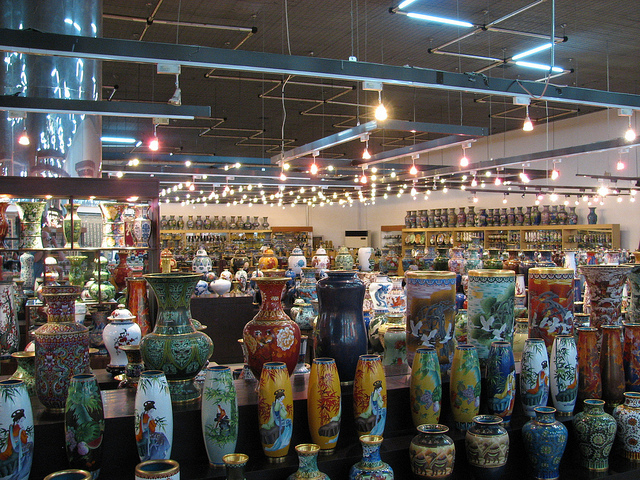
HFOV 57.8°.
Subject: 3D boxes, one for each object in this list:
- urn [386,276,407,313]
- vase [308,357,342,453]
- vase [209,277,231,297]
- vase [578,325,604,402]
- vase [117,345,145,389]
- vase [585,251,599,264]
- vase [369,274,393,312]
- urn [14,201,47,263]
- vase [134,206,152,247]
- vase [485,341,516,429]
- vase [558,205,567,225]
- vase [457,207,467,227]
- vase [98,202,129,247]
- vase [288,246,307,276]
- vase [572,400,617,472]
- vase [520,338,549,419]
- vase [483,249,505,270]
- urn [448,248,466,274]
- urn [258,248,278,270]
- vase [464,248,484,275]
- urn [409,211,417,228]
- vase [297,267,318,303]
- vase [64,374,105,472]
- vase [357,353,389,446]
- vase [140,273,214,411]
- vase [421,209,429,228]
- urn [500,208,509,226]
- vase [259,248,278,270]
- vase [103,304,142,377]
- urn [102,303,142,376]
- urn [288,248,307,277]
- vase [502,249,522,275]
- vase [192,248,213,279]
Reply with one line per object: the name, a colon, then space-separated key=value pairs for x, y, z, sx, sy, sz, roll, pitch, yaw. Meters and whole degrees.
urn: x=0.546 y=0.392 z=4.087 sx=0.177 sy=0.274 sz=0.188 roll=0 pitch=-3 yaw=4
vase: x=0.021 y=0.812 z=2.859 sx=0.159 sy=0.447 sz=0.137 roll=-2 pitch=-2 yaw=6
vase: x=-1.212 y=0.565 z=7.035 sx=0.216 sy=0.205 sz=0.212 roll=1 pitch=1 yaw=-32
vase: x=1.578 y=0.713 z=3.345 sx=0.108 sy=0.329 sz=0.303 roll=-4 pitch=-2 yaw=44
vase: x=-1.091 y=0.751 z=3.429 sx=0.196 sy=0.218 sz=0.189 roll=2 pitch=-8 yaw=-30
vase: x=2.981 y=0.189 z=6.329 sx=0.175 sy=0.187 sz=0.167 roll=2 pitch=2 yaw=21
vase: x=0.448 y=0.378 z=4.354 sx=0.213 sy=0.305 sz=0.189 roll=1 pitch=-9 yaw=-2
urn: x=-2.633 y=-0.093 z=5.262 sx=0.271 sy=0.481 sz=0.271 roll=-11 pitch=-15 yaw=13
vase: x=-1.868 y=-0.135 z=6.041 sx=0.235 sy=0.434 sz=0.239 roll=3 pitch=6 yaw=18
vase: x=0.975 y=0.778 z=3.112 sx=0.152 sy=0.300 sz=0.105 roll=-2 pitch=-2 yaw=-1
vase: x=5.701 y=-0.584 z=13.563 sx=0.193 sy=0.327 sz=0.302 roll=-3 pitch=-2 yaw=23
vase: x=4.066 y=-0.624 z=16.506 sx=0.263 sy=0.548 sz=0.708 roll=-2 pitch=-2 yaw=13
vase: x=-2.124 y=-0.141 z=5.981 sx=0.320 sy=0.434 sz=0.312 roll=-1 pitch=5 yaw=-3
vase: x=-0.320 y=0.254 z=7.021 sx=0.299 sy=0.362 sz=0.295 roll=0 pitch=-2 yaw=-25
vase: x=1.489 y=1.032 z=3.059 sx=0.267 sy=0.282 sz=0.119 roll=-2 pitch=-2 yaw=-7
vase: x=1.197 y=0.761 z=3.160 sx=0.169 sy=0.303 sz=0.179 roll=-1 pitch=-2 yaw=-28
vase: x=1.429 y=0.148 z=4.712 sx=0.188 sy=0.190 sz=0.188 roll=1 pitch=-7 yaw=2
urn: x=1.212 y=0.190 z=5.089 sx=0.186 sy=0.272 sz=0.178 roll=1 pitch=-7 yaw=-2
urn: x=-0.629 y=0.244 z=7.311 sx=0.253 sy=0.345 sz=0.247 roll=5 pitch=-6 yaw=-25
vase: x=1.276 y=0.178 z=4.774 sx=0.189 sy=0.257 sz=0.190 roll=1 pitch=-7 yaw=0
urn: x=2.952 y=-0.649 z=18.296 sx=0.231 sy=0.549 sz=0.604 roll=-2 pitch=-2 yaw=10
vase: x=-0.135 y=0.399 z=4.966 sx=0.223 sy=0.325 sz=0.202 roll=5 pitch=6 yaw=-11
vase: x=-1.101 y=0.835 z=2.637 sx=0.210 sy=0.425 sz=0.113 roll=-3 pitch=-2 yaw=26
vase: x=0.256 y=0.778 z=2.888 sx=0.149 sy=0.390 sz=0.080 roll=-2 pitch=-2 yaw=3
vase: x=-0.754 y=0.501 z=2.974 sx=0.320 sy=0.648 sz=0.204 roll=-2 pitch=-2 yaw=8
vase: x=3.208 y=-0.639 z=17.635 sx=0.220 sy=0.529 sz=0.258 roll=-2 pitch=-2 yaw=4
urn: x=4.732 y=-0.567 z=14.841 sx=0.301 sy=0.534 sz=0.308 roll=1 pitch=-2 yaw=26
vase: x=-0.636 y=0.241 z=7.296 sx=0.241 sy=0.324 sz=0.243 roll=2 pitch=-3 yaw=2
vase: x=-1.354 y=0.681 z=3.947 sx=0.266 sy=0.458 sz=0.254 roll=-3 pitch=0 yaw=-2
urn: x=-1.356 y=0.685 z=3.957 sx=0.263 sy=0.472 sz=0.270 roll=-2 pitch=1 yaw=-36
urn: x=-0.304 y=0.264 z=7.029 sx=0.250 sy=0.392 sz=0.247 roll=4 pitch=2 yaw=-35
vase: x=2.124 y=0.221 z=6.376 sx=0.188 sy=0.254 sz=0.191 roll=2 pitch=-6 yaw=5
vase: x=-1.524 y=0.303 z=7.380 sx=0.246 sy=0.415 sz=0.248 roll=-1 pitch=-1 yaw=23
